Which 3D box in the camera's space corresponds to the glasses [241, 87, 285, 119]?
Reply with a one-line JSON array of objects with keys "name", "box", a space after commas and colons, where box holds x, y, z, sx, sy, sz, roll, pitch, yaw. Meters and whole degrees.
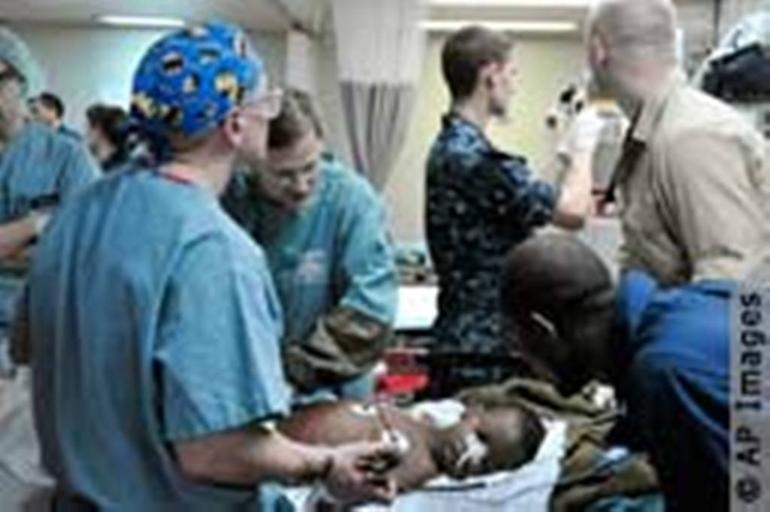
[{"name": "glasses", "box": [-0.348, -0.437, 2.189, 0.084, 0.097, 0.106, -8, 51, 9]}]
